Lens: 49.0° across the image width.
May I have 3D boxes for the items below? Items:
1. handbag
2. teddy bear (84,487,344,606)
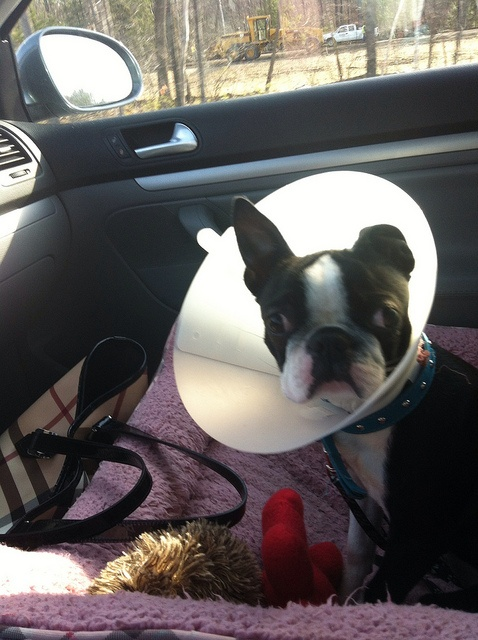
[{"bbox_3d":[-0.248,0.226,0.914,0.372,0.073,0.339,0,33,3],"label":"handbag"},{"bbox_3d":[-0.003,0.256,0.619,0.147,0.186,0.085,-17,73,15],"label":"teddy bear"}]
